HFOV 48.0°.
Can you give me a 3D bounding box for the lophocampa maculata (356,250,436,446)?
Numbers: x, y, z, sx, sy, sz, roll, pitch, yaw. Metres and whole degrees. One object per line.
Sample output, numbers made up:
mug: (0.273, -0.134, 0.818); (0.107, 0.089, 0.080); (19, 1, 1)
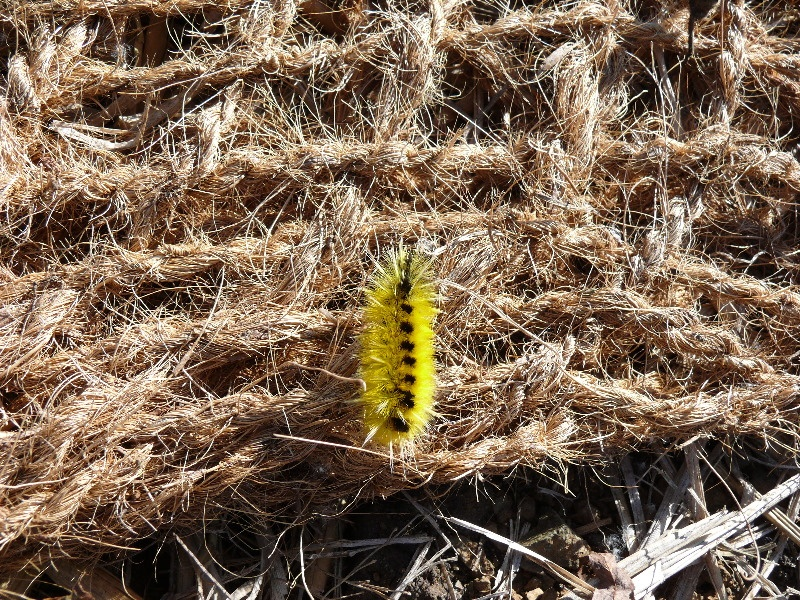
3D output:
lophocampa maculata: (0.033, 0.116, 2.212); (0.201, 0.236, 0.451); (0, 87, 10)
